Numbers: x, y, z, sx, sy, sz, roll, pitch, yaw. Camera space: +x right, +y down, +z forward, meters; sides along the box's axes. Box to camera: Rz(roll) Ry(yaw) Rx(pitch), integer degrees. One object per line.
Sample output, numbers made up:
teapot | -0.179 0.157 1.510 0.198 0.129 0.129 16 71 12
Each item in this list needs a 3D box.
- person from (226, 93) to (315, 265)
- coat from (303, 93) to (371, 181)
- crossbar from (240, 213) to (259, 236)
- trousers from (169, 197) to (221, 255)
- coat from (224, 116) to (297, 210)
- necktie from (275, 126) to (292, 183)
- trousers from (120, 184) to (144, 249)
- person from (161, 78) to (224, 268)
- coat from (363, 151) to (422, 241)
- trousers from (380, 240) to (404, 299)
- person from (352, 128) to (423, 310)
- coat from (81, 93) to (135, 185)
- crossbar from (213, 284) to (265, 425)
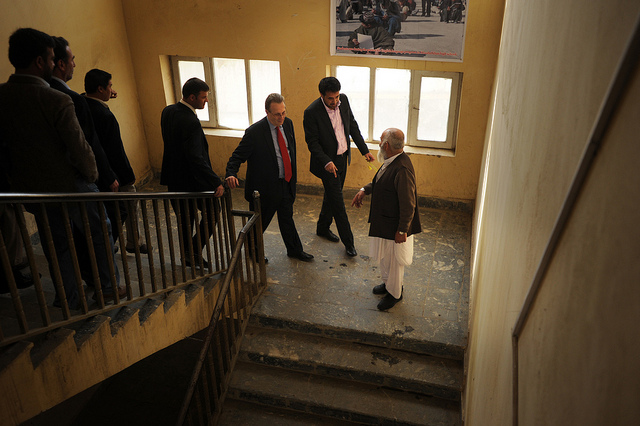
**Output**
person | -0.603 -0.323 5.408 0.786 2.177 1.381 20 30 35
coat | 0.185 -1.001 5.725 0.744 1.013 0.495 -19 28 -40
crossbar | -0.719 0.101 4.639 0.053 0.068 0.408 10 37 17
trousers | -1.297 0.139 4.655 0.628 0.683 0.178 0 2 -18
coat | -0.711 -0.615 5.525 0.378 0.923 1.280 20 33 35
necktie | -0.424 -0.686 5.236 0.117 0.690 0.059 -6 26 9
trousers | -2.015 0.082 4.728 0.227 0.695 0.173 -11 35 -19
person | -1.416 -0.353 4.832 0.605 2.111 1.356 -8 23 -19
coat | 0.752 -0.334 4.940 0.753 1.048 0.834 5 34 11
trousers | 0.785 0.607 4.932 0.264 0.735 0.105 15 26 35
person | 0.779 0.094 4.811 0.624 2.002 0.457 8 22 21
coat | -2.028 -0.772 4.477 0.296 0.790 0.613 -27 36 -31
crossbar | -0.857 1.552 4.749 0.083 1.609 0.221 26 -2 -35
